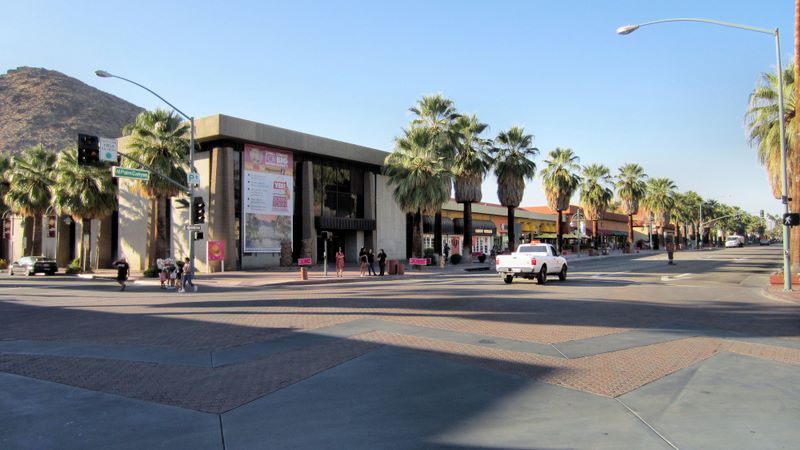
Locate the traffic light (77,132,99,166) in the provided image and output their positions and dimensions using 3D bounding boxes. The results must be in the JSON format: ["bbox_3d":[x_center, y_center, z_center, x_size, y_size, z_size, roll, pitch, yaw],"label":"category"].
[{"bbox_3d":[-17.188,-4.215,33.018,0.967,1.667,1.022,2,-5,-31],"label":"traffic light"}]

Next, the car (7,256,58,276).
[{"bbox_3d":[-32.161,3.608,52.257,3.558,1.109,2.006,1,0,35],"label":"car"}]

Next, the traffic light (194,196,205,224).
[{"bbox_3d":[-13.551,-0.940,40.236,0.574,1.436,1.051,1,-5,-27],"label":"traffic light"}]

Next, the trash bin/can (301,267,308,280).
[{"bbox_3d":[-6.537,3.310,40.929,0.436,0.922,1.137,0,-5,-8],"label":"trash bin/can"}]

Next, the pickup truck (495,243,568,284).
[{"bbox_3d":[8.101,2.352,36.350,4.388,2.458,1.784,3,-6,-35],"label":"pickup truck"}]
